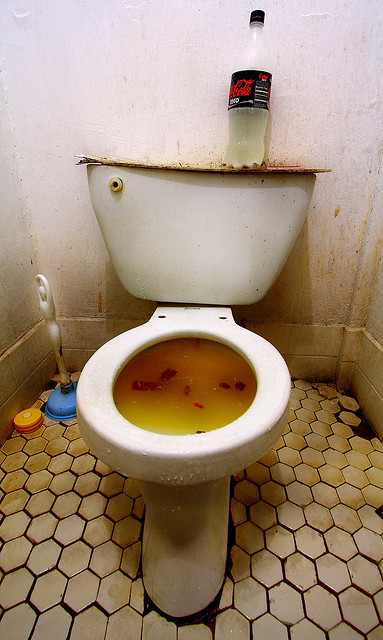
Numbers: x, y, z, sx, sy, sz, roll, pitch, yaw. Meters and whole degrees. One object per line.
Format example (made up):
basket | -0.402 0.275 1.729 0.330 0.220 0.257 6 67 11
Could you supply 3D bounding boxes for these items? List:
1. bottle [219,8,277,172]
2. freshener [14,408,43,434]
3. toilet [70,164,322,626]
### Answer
bottle | 0.139 -0.540 1.027 0.129 0.346 0.135 1 28 -1
freshener | -0.457 0.283 1.209 0.075 0.034 0.064 -22 38 -34
toilet | -0.031 0.097 0.874 0.486 0.693 0.605 7 30 9
